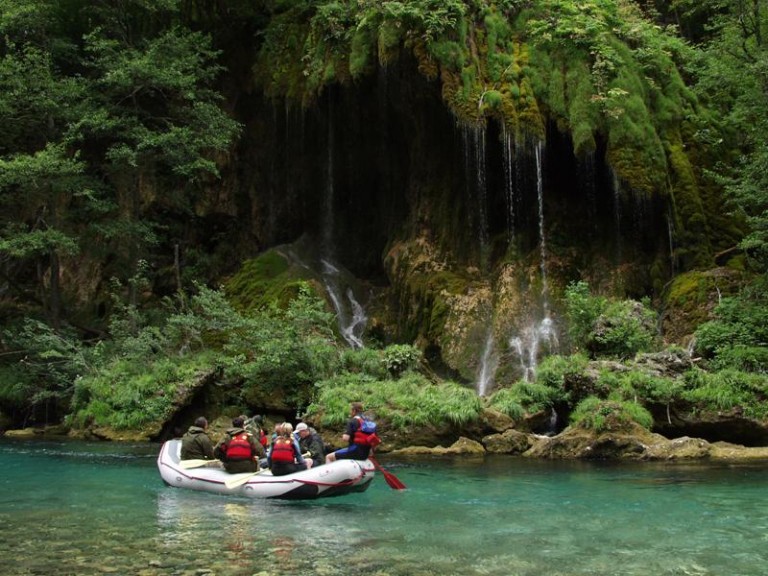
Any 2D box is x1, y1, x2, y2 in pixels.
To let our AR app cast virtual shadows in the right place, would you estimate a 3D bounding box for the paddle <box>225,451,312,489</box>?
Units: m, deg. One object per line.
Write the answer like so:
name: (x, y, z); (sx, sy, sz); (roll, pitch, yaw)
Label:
paddle: (-2.713, 4.285, 17.170); (0.354, 0.145, 2.537); (27, 29, 33)
